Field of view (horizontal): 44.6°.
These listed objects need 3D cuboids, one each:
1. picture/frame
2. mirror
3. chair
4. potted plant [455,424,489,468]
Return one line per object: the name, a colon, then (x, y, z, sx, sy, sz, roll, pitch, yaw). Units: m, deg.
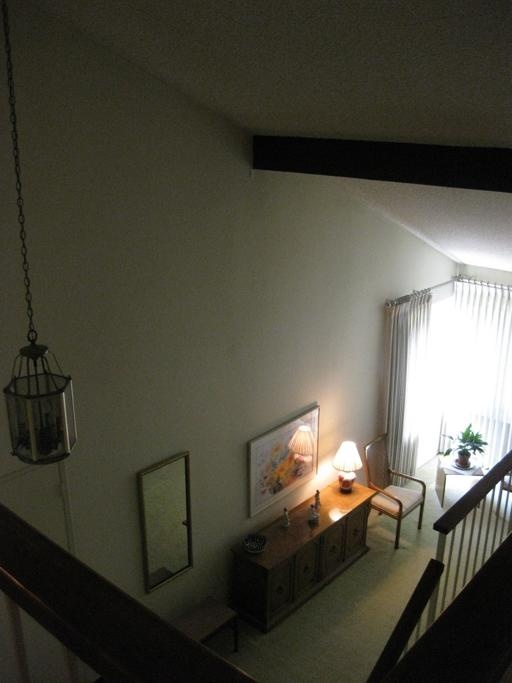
picture/frame: (0.215, 1.020, 5.452, 0.039, 0.779, 0.905, 15, 27, 35)
mirror: (-0.648, 1.306, 4.508, 0.086, 1.006, 0.520, 11, 17, 36)
chair: (1.510, 1.675, 6.903, 0.624, 1.190, 0.640, -22, 31, -38)
potted plant: (2.474, 1.196, 7.203, 0.304, 0.436, 0.429, 5, 15, 15)
